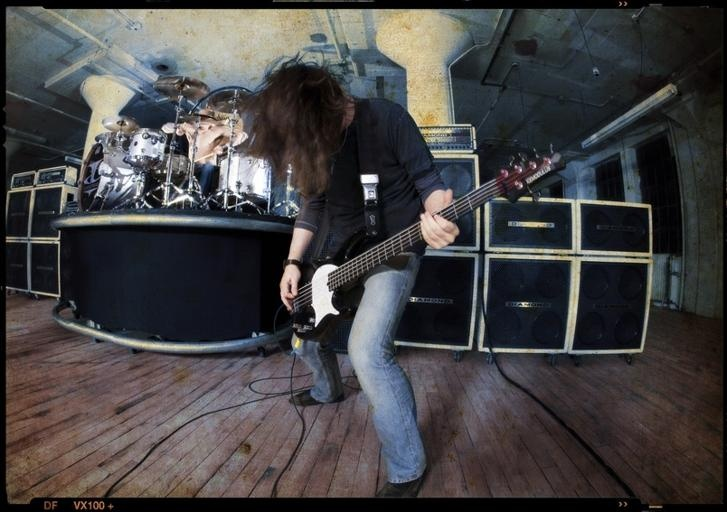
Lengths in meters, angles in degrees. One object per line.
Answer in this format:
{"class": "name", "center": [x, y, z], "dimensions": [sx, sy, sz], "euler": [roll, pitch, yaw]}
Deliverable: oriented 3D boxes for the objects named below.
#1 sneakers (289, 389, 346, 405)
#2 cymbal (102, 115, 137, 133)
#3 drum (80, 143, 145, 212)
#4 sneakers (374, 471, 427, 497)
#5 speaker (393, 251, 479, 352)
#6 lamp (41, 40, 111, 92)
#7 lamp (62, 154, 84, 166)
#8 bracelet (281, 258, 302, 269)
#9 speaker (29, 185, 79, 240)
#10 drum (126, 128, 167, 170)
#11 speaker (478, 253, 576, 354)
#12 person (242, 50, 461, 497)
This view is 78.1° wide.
{"class": "sneakers", "center": [-0.315, 0.994, 3.155], "dimensions": [0.379, 0.136, 0.130], "euler": [8, -27, 0]}
{"class": "cymbal", "center": [-2.753, -1.498, 5.083], "dimensions": [0.310, 0.073, 0.306], "euler": [2, -26, -28]}
{"class": "drum", "center": [-2.858, -0.877, 4.910], "dimensions": [0.734, 0.726, 0.429], "euler": [9, 13, 35]}
{"class": "sneakers", "center": [0.213, 1.286, 2.515], "dimensions": [0.277, 0.112, 0.084], "euler": [1, 11, -2]}
{"class": "speaker", "center": [0.585, 0.328, 3.491], "dimensions": [0.759, 0.866, 0.468], "euler": [5, 1, 8]}
{"class": "lamp", "center": [-3.573, -2.386, 5.645], "dimensions": [0.642, 0.489, 0.690], "euler": [-6, 13, -33]}
{"class": "lamp", "center": [-3.586, -1.197, 5.553], "dimensions": [0.276, 0.194, 0.063], "euler": [-2, -12, -6]}
{"class": "bracelet", "center": [-0.469, 0.046, 3.001], "dimensions": [0.082, 0.083, 0.077], "euler": [3, -2, -39]}
{"class": "speaker", "center": [-3.454, -0.483, 4.925], "dimensions": [0.522, 0.610, 0.369], "euler": [-2, 11, -18]}
{"class": "drum", "center": [-2.273, -1.132, 4.675], "dimensions": [0.398, 0.381, 0.181], "euler": [-5, 12, -28]}
{"class": "speaker", "center": [1.378, 0.373, 3.688], "dimensions": [0.784, 0.937, 0.333], "euler": [1, 5, 6]}
{"class": "person", "center": [-0.054, 0.055, 2.721], "dimensions": [1.219, 2.436, 0.552], "euler": [9, 14, 36]}
